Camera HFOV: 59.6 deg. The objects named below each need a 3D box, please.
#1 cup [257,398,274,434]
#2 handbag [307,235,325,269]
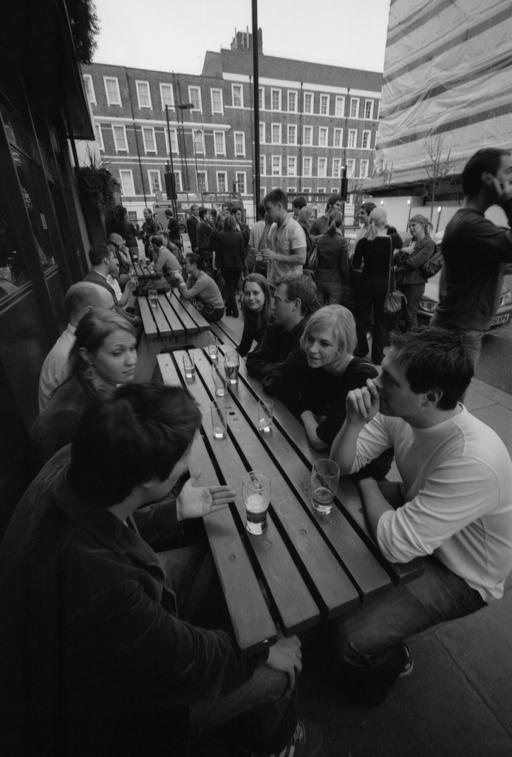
[{"bbox_3d":[0.043,0.199,2.470,0.101,0.258,0.123,-1,10,-6],"label":"cup"},{"bbox_3d":[0.779,-1.605,5.738,0.132,0.479,0.350,1,44,-2],"label":"handbag"}]
